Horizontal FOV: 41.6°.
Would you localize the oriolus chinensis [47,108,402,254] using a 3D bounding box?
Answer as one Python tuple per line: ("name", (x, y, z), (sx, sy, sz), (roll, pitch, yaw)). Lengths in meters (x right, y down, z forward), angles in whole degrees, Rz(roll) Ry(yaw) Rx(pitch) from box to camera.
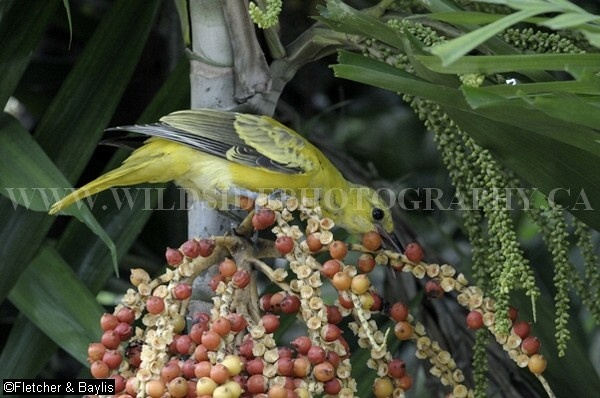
("oriolus chinensis", (-0.155, -0.053, 1.842), (0.791, 0.286, 0.227), (12, -13, -7))
